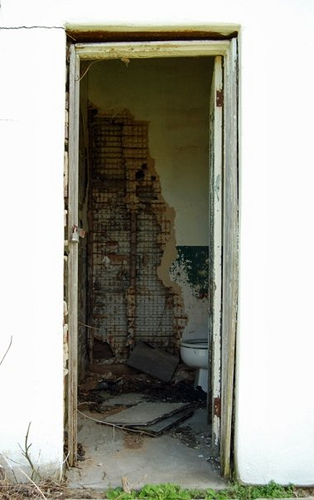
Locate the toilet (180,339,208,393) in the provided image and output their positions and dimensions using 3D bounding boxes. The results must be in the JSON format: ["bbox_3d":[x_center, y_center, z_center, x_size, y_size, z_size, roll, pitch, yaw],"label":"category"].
[{"bbox_3d":[0.326,0.880,4.649,0.258,0.312,0.274,-3,-22,12],"label":"toilet"}]

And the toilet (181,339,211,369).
[{"bbox_3d":[0.284,0.771,4.726,0.257,0.244,0.349,0,-6,0],"label":"toilet"}]
